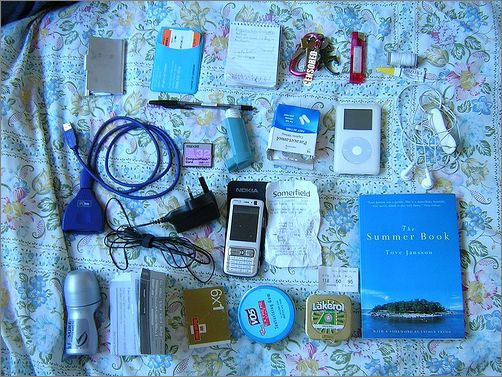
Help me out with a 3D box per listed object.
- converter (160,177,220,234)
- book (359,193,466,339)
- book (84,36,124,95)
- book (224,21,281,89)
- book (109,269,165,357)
[{"bbox_3d":[-0.165,0.072,1.767,0.174,0.184,0.281,6,42,7],"label":"converter"},{"bbox_3d":[0.541,0.276,1.661,0.405,0.057,0.617,-1,92,-5],"label":"book"},{"bbox_3d":[-0.527,-0.437,1.778,0.134,0.030,0.205,1,85,2],"label":"book"},{"bbox_3d":[0.002,-0.475,1.766,0.184,0.015,0.236,4,86,2],"label":"book"},{"bbox_3d":[-0.386,0.410,1.630,0.194,0.116,0.293,-3,85,2],"label":"book"}]
